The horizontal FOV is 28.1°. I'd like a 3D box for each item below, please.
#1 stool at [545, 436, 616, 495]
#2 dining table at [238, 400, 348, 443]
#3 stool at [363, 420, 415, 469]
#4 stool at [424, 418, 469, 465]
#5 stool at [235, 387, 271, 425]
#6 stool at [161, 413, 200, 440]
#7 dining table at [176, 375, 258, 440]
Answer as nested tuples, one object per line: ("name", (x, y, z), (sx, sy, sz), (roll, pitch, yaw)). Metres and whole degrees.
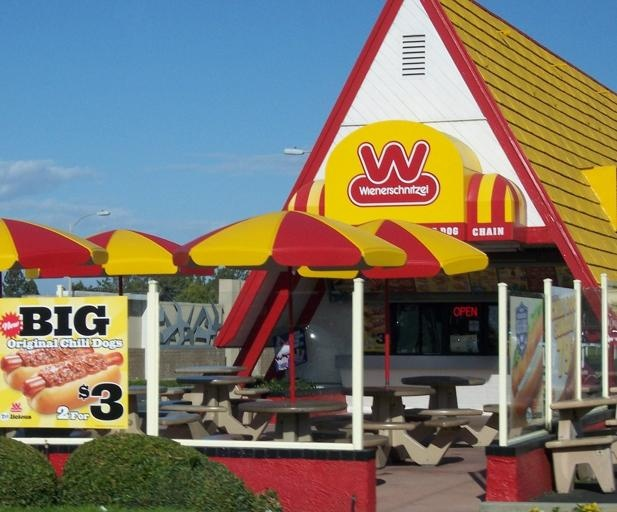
("stool", (3.639, 2.782, 16.260), (0.843, 0.580, 0.826), (-5, -13, 21))
("dining table", (-0.280, 2.174, 16.540), (1.233, 0.564, 1.666), (4, -9, -28))
("stool", (1.135, 2.754, 17.932), (0.767, 0.529, 0.738), (-1, 1, -4))
("stool", (2.107, 2.772, 18.621), (0.585, 0.710, 1.083), (-1, -8, 11))
("stool", (-1.024, 2.537, 22.155), (0.649, 0.660, 0.983), (-1, -2, 10))
("stool", (-1.852, 2.381, 17.376), (0.460, 0.206, 0.601), (0, -2, 10))
("dining table", (-1.323, 2.507, 20.726), (1.167, 0.692, 1.084), (-1, -2, 22))
